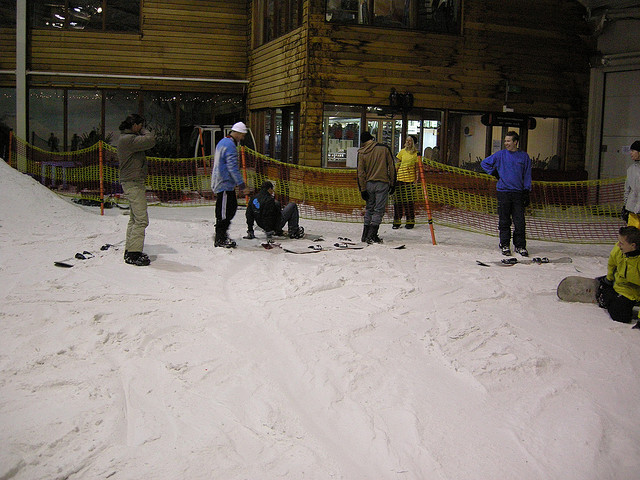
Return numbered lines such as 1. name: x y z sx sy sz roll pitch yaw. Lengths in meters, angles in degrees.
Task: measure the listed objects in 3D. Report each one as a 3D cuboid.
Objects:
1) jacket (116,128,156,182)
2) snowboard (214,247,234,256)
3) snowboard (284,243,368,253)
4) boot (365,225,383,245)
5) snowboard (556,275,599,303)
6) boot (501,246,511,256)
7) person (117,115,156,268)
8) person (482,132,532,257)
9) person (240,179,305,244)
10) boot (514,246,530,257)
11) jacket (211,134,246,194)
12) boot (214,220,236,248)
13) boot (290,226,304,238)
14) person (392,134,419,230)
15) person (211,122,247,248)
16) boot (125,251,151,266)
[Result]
1. jacket: -2.767 -1.286 6.967 0.547 0.795 0.365 -1 11 -11
2. snowboard: -1.639 0.189 7.890 0.303 0.029 0.550 -2 12 -16
3. snowboard: 0.117 0.135 8.426 1.595 0.054 0.414 -3 12 -22
4. boot: 1.136 -0.100 9.114 0.405 0.417 0.226 -1 6 -18
5. snowboard: 3.270 0.624 5.878 0.562 0.264 0.269 2 11 0
6. boot: 3.315 0.187 8.285 0.141 0.137 0.197 3 11 8
7. person: -2.753 -0.750 6.999 0.587 2.229 0.474 9 13 35
8. person: 3.383 -0.878 8.432 0.779 2.138 0.661 6 12 23
9. person: -0.902 -0.606 9.179 0.959 1.175 1.414 2 13 28
10. boot: 3.577 0.199 8.295 0.107 0.132 0.300 -14 7 -7
11. jacket: -1.591 -1.320 8.035 0.722 1.004 0.460 11 14 40
12. boot: -1.594 -0.104 8.177 0.504 0.538 0.283 0 10 -7
13. boot: -0.448 -0.166 9.395 0.167 0.194 0.360 9 13 36
14. person: 2.038 -1.421 11.075 0.570 2.034 0.598 3 11 9
15. person: -1.612 -0.968 8.141 0.563 2.164 0.629 0 11 -10
16. boot: -2.706 0.290 7.010 0.415 0.312 0.149 1 1 -12
